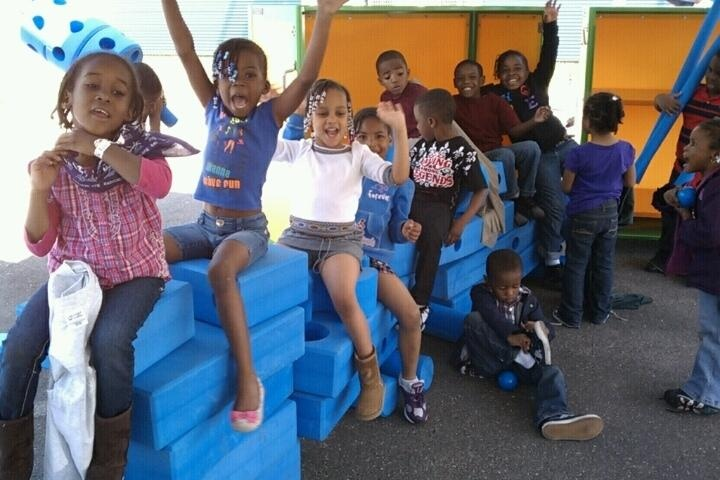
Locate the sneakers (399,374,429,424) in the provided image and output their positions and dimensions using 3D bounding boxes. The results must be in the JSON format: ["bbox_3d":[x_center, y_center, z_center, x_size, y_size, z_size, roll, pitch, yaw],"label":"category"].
[{"bbox_3d":[0.240,0.755,2.655,0.086,0.098,0.238,-5,60,-11],"label":"sneakers"}]

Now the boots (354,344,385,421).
[{"bbox_3d":[0.034,0.630,2.496,0.103,0.264,0.266,-7,14,18],"label":"boots"}]

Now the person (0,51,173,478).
[{"bbox_3d":[-0.930,0.102,1.941,0.512,1.379,0.650,1,20,-2],"label":"person"}]

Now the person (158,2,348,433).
[{"bbox_3d":[-0.515,-0.155,2.179,0.703,1.442,0.873,4,20,6],"label":"person"}]

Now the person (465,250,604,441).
[{"bbox_3d":[0.810,0.470,2.846,0.434,0.716,1.032,-3,13,-12],"label":"person"}]

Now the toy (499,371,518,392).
[{"bbox_3d":[0.752,0.715,2.883,0.081,0.102,0.082,6,-7,-25],"label":"toy"}]

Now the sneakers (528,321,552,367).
[{"bbox_3d":[0.906,0.521,2.852,0.066,0.186,0.141,-5,15,13],"label":"sneakers"}]

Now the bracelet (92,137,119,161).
[{"bbox_3d":[-0.854,-0.307,1.908,0.070,0.070,0.104,-7,23,-23],"label":"bracelet"}]

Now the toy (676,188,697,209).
[{"bbox_3d":[1.667,-0.219,2.974,0.091,0.115,0.096,-4,4,2],"label":"toy"}]

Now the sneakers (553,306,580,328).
[{"bbox_3d":[1.264,0.476,3.516,0.098,0.052,0.131,-2,12,-35],"label":"sneakers"}]

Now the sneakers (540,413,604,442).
[{"bbox_3d":[0.934,0.836,2.532,0.261,0.125,0.110,1,10,5],"label":"sneakers"}]
